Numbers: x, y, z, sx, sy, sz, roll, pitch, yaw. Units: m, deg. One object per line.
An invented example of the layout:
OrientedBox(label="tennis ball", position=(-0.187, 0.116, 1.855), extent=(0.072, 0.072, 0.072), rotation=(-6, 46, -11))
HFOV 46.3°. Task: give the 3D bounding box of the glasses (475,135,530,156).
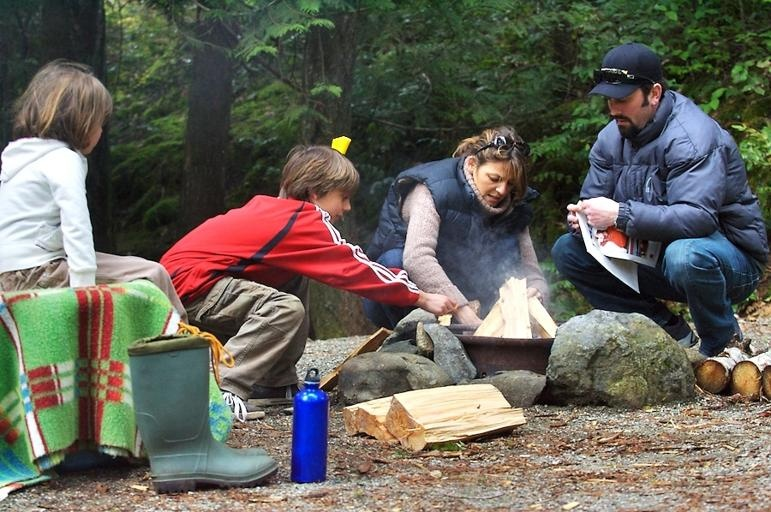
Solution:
OrientedBox(label="glasses", position=(0.860, -0.805, 6.599), extent=(0.405, 0.161, 0.219), rotation=(-2, 11, -2))

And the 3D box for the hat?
OrientedBox(label="hat", position=(1.696, -1.295, 6.309), extent=(0.472, 0.276, 0.331), rotation=(-15, 26, -31))

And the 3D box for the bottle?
OrientedBox(label="bottle", position=(-0.417, 0.894, 4.889), extent=(0.212, 0.580, 0.239), rotation=(-3, 11, -6))

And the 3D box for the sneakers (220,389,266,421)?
OrientedBox(label="sneakers", position=(-0.899, 0.934, 5.718), extent=(0.352, 0.161, 0.136), rotation=(9, 8, 29))
